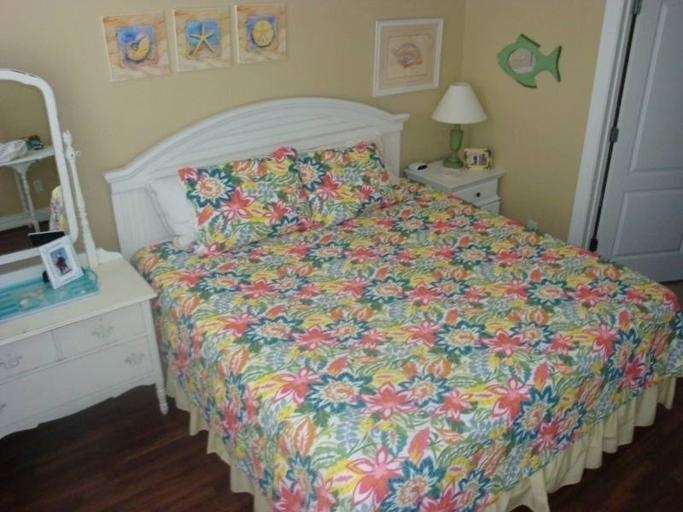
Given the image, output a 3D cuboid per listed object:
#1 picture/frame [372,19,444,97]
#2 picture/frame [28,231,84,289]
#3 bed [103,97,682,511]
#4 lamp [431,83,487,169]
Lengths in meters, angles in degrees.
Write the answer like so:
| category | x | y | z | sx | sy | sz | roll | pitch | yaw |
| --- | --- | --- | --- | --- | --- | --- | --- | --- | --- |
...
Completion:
| category | x | y | z | sx | sy | sz | roll | pitch | yaw |
| --- | --- | --- | --- | --- | --- | --- | --- | --- | --- |
| picture/frame | 0.509 | -1.608 | 4.079 | 0.606 | 0.524 | 0.027 | -15 | 29 | -31 |
| picture/frame | -1.627 | 0.029 | 2.865 | 0.240 | 0.344 | 0.026 | -22 | 2 | -41 |
| bed | 0.148 | 0.534 | 3.440 | 2.415 | 1.996 | 2.985 | -26 | 43 | -33 |
| lamp | 1.004 | -1.130 | 4.335 | 0.411 | 0.629 | 0.443 | -10 | 33 | -11 |
